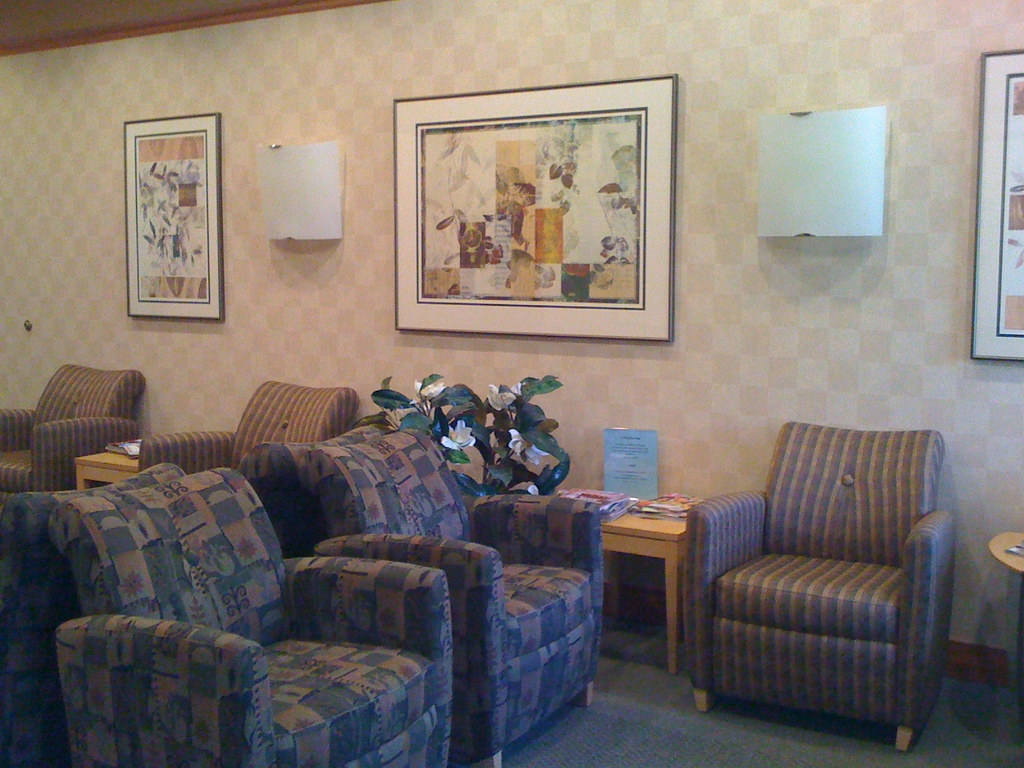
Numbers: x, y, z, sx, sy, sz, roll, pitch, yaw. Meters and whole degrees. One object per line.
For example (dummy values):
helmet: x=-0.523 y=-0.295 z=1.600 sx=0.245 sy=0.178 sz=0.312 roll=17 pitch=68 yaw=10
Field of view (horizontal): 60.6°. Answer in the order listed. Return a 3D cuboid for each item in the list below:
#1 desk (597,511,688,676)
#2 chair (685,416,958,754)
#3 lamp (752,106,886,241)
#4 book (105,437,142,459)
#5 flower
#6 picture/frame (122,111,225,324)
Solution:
desk: x=0.644 y=1.024 z=4.431 sx=0.539 sy=0.625 sz=0.713 roll=4 pitch=-2 yaw=14
chair: x=1.375 y=0.800 z=4.123 sx=1.106 sy=1.393 sz=1.278 roll=1 pitch=1 yaw=29
lamp: x=1.426 y=-0.963 z=3.998 sx=0.573 sy=0.593 sz=0.204 roll=2 pitch=4 yaw=23
book: x=-2.416 y=0.405 z=5.494 sx=0.201 sy=0.053 sz=0.217 roll=4 pitch=4 yaw=27
flower: x=-0.139 y=0.277 z=4.552 sx=0.856 sy=0.382 sz=0.685 roll=5 pitch=-10 yaw=-25
picture/frame: x=-2.206 y=-1.077 z=5.702 sx=0.813 sy=1.282 sz=0.159 roll=4 pitch=10 yaw=25
